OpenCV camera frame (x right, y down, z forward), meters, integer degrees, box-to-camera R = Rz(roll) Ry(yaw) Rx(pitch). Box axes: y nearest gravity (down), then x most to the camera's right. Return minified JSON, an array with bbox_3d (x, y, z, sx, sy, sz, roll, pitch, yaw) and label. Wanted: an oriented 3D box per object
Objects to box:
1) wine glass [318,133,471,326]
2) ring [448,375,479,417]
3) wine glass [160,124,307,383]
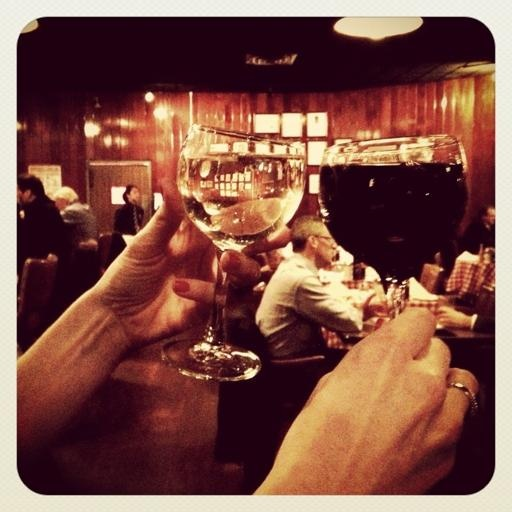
[{"bbox_3d":[0.160,-0.025,0.577,0.137,0.217,0.140,-13,11,-44],"label":"wine glass"},{"bbox_3d":[0.363,0.238,0.877,0.053,0.043,0.021,2,22,21],"label":"ring"},{"bbox_3d":[-0.042,0.009,0.721,0.180,0.395,0.264,2,7,-10],"label":"wine glass"}]
